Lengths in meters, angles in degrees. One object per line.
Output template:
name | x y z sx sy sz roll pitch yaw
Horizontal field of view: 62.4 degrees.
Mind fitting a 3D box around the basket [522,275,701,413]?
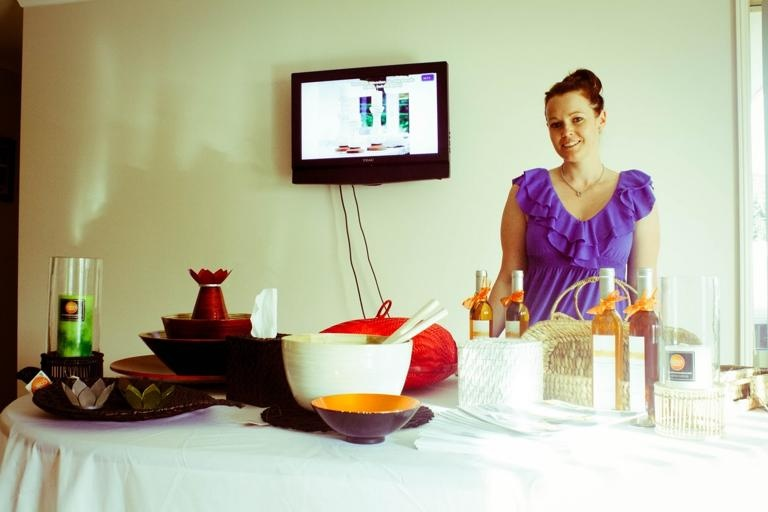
basket | 0.646 0.223 1.731 0.377 0.344 0.296 1 -1 24

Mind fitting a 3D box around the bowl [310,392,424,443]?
bowl | -0.041 0.366 1.467 0.145 0.054 0.146 -2 -6 0

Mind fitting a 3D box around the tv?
tv | -0.035 -0.809 3.888 0.750 0.560 0.079 -1 2 11

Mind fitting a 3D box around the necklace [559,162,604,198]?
necklace | 0.918 -0.338 2.984 0.145 0.184 0.039 -4 -28 15

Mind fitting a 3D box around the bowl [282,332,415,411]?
bowl | -0.092 0.272 1.593 0.221 0.121 0.221 -2 -5 0

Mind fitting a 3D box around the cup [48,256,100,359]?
cup | -0.934 0.153 1.928 0.140 0.294 0.101 2 -3 -27

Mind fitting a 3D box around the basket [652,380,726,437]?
basket | 0.733 0.361 1.507 0.130 0.095 0.131 0 -1 -2

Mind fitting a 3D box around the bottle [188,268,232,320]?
bottle | -0.527 0.118 2.012 0.154 0.180 0.149 0 -1 5
